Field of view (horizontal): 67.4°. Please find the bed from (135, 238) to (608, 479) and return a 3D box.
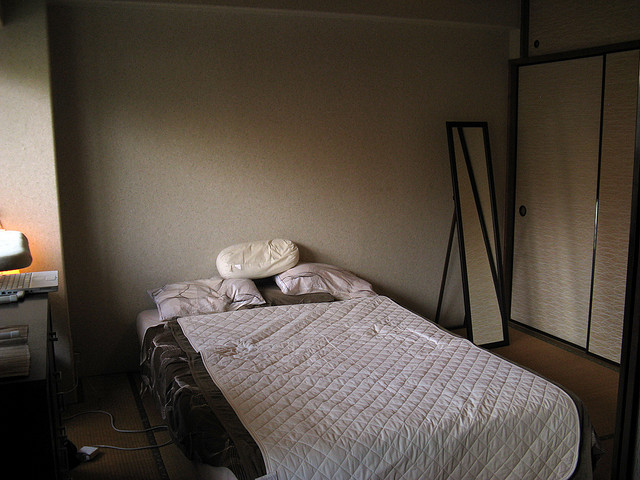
[{"bbox_3d":[-0.074,0.770,3.227,1.554,0.702,2.211,-5,11,-26],"label":"bed"}]
